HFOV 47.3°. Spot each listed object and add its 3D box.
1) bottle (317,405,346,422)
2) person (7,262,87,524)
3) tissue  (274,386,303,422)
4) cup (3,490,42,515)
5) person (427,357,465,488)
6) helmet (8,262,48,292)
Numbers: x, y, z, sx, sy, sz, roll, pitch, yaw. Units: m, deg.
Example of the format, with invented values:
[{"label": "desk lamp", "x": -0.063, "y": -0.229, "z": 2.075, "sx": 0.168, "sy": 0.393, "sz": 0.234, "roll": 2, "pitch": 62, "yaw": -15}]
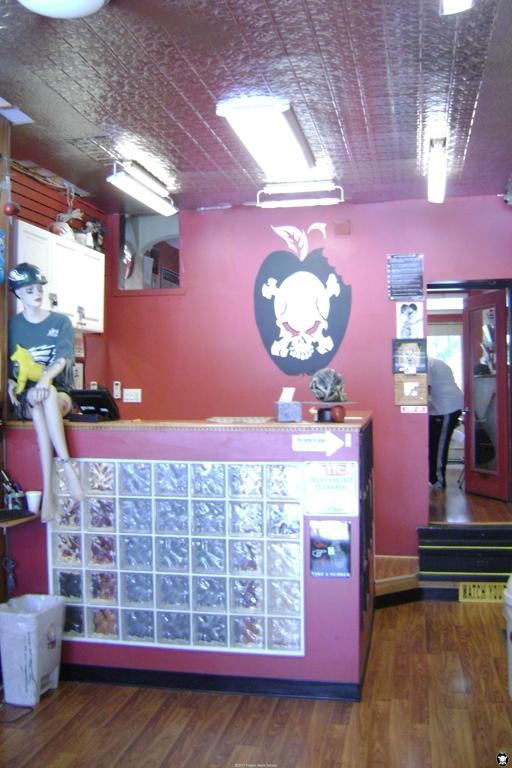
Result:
[{"label": "bottle", "x": 0.343, "y": 0.138, "z": 2.678, "sx": 0.124, "sy": 0.083, "sz": 0.148, "roll": -3, "pitch": -5, "yaw": 15}, {"label": "person", "x": -1.080, "y": 0.027, "z": 2.960, "sx": 0.337, "sy": 1.287, "sz": 0.576, "roll": 1, "pitch": -6, "yaw": -23}, {"label": "tissue ", "x": 0.181, "y": 0.096, "z": 2.842, "sx": 0.155, "sy": 0.233, "sz": 0.160, "roll": 0, "pitch": 1, "yaw": 5}, {"label": "cup", "x": -1.122, "y": 0.575, "z": 2.846, "sx": 0.109, "sy": 0.096, "sz": 0.125, "roll": -1, "pitch": -6, "yaw": 9}, {"label": "person", "x": 1.956, "y": 0.399, "z": 6.041, "sx": 0.366, "sy": 1.340, "sz": 0.615, "roll": -3, "pitch": -5, "yaw": 16}, {"label": "helmet", "x": -1.175, "y": -0.541, "z": 3.046, "sx": 0.164, "sy": 0.148, "sz": 0.129, "roll": -17, "pitch": 19, "yaw": 48}]
